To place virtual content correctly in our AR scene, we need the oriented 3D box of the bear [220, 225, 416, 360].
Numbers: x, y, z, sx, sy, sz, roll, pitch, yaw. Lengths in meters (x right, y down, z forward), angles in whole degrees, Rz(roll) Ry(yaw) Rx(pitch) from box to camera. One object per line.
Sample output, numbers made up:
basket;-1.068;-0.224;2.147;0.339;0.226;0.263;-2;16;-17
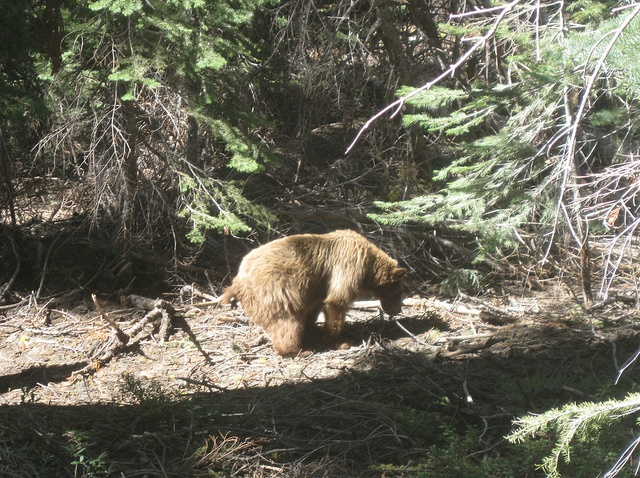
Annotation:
bear;-0.161;0.645;9.313;2.831;1.409;1.262;0;10;-32
